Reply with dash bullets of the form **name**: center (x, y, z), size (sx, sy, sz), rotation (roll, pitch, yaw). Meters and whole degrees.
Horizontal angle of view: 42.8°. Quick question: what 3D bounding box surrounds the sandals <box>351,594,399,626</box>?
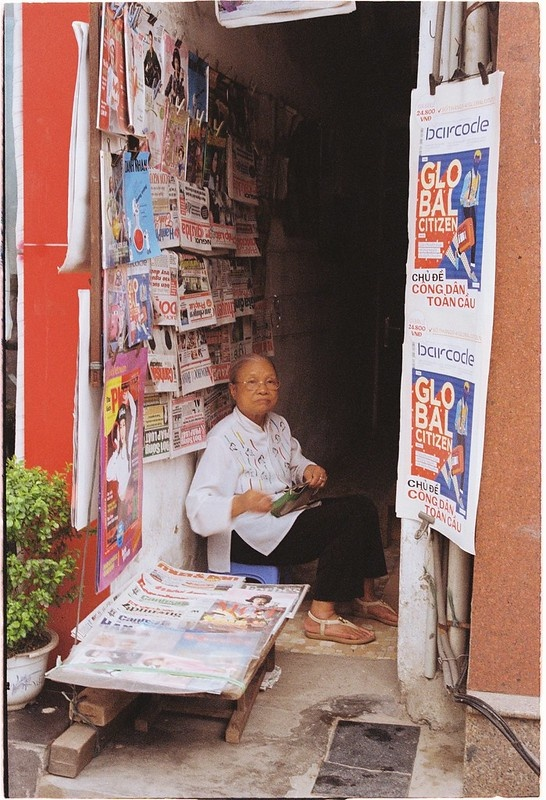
- **sandals**: center (0.487, 0.996, 3.305), size (0.162, 0.085, 0.089), rotation (2, 6, 21)

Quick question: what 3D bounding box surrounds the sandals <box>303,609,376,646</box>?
- **sandals**: center (0.287, 0.985, 3.061), size (0.228, 0.115, 0.132), rotation (-1, 7, 9)

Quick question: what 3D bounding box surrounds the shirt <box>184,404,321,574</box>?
- **shirt**: center (-0.069, 0.368, 3.160), size (0.355, 0.689, 0.753), rotation (3, 13, 38)

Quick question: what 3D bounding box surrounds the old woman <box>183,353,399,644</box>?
- **old woman**: center (0.081, 0.372, 3.546), size (0.973, 1.744, 1.113), rotation (0, 6, 21)

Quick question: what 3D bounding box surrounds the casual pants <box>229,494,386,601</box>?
- **casual pants**: center (0.187, 0.606, 3.110), size (0.560, 0.281, 0.402), rotation (1, 3, 21)
